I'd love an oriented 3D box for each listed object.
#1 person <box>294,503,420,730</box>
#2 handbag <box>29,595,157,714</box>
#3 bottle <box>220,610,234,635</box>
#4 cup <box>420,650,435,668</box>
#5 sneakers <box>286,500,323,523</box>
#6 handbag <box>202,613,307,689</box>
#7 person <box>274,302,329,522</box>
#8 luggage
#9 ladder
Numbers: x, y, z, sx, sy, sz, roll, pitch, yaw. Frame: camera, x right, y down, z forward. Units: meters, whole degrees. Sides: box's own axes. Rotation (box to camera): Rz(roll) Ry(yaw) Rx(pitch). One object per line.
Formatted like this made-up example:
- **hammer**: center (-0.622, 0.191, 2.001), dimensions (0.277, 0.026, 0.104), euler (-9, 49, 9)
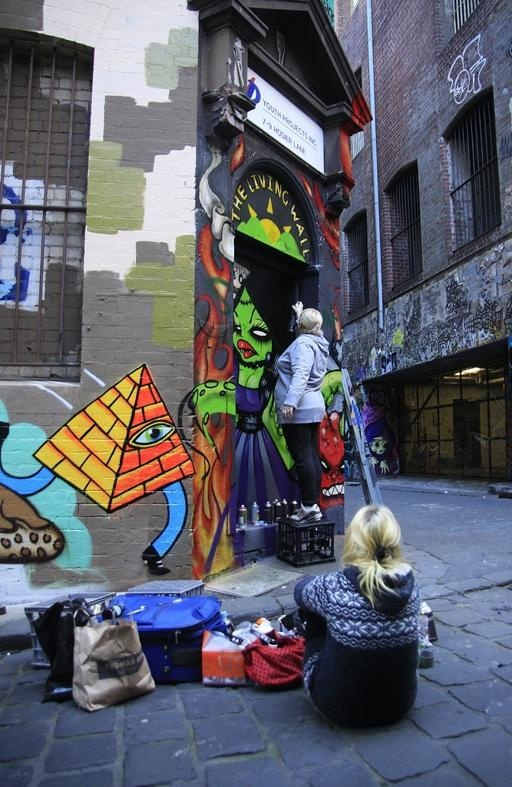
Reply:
- **person**: center (0.443, 0.998, 3.166), dimensions (0.545, 1.003, 0.381), euler (-1, 2, 16)
- **handbag**: center (-0.812, 1.327, 3.704), dimensions (0.566, 0.557, 0.404), euler (-21, -4, -13)
- **bottle**: center (-0.161, 1.309, 4.035), dimensions (0.112, 0.137, 0.142), euler (-2, 0, 2)
- **cup**: center (0.904, 1.404, 3.772), dimensions (0.087, 0.075, 0.083), euler (-1, -3, 0)
- **sneakers**: center (0.440, 1.019, 5.996), dimensions (0.350, 0.231, 0.113), euler (-2, -3, 6)
- **handbag**: center (0.011, 1.376, 3.740), dimensions (0.518, 0.250, 0.370), euler (0, 2, 22)
- **person**: center (0.380, 0.180, 6.057), dimensions (0.425, 1.805, 0.813), euler (-1, 2, 10)
- **luggage**: center (-0.436, 1.277, 3.769), dimensions (0.436, 0.172, 0.489), euler (0, -5, 4)
- **ladder**: center (1.019, 0.486, 6.765), dimensions (0.342, 1.231, 0.816), euler (-1, 2, 7)
